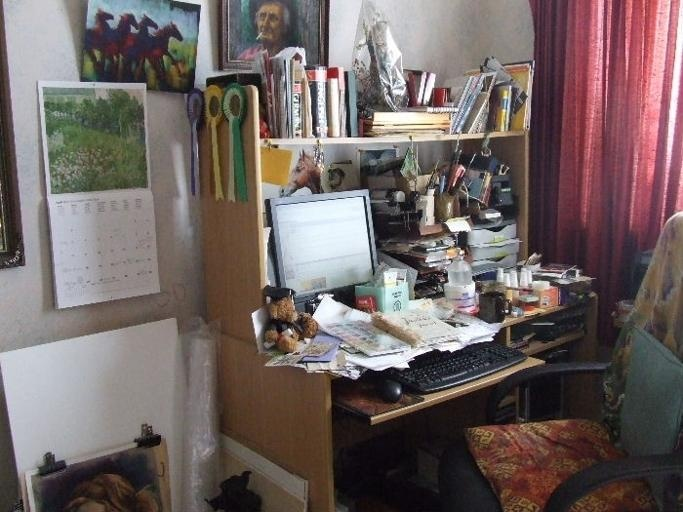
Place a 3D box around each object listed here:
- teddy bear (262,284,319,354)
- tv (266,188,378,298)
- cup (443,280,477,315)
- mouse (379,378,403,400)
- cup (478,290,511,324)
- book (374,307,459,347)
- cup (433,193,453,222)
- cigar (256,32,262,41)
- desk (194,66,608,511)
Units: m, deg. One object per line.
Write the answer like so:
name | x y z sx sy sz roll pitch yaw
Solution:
teddy bear | -0.182 0.202 1.908 0.136 0.217 0.194 5 19 26
tv | -0.088 -0.038 2.153 0.385 0.311 0.041 -15 4 -36
cup | 0.491 0.172 2.255 0.122 0.127 0.120 -6 5 1
mouse | 0.155 0.425 1.701 0.055 0.069 0.061 -1 58 12
cup | 0.591 0.200 2.098 0.129 0.140 0.082 5 8 39
book | 0.279 0.261 1.962 0.153 0.040 0.153 -6 19 -35
cup | 0.461 -0.217 2.509 0.104 0.161 0.108 0 0 0
cigar | -0.331 -0.881 2.177 0.008 0.025 0.025 3 22 23
desk | 0.362 0.307 2.794 1.906 2.252 1.549 -9 12 -42
